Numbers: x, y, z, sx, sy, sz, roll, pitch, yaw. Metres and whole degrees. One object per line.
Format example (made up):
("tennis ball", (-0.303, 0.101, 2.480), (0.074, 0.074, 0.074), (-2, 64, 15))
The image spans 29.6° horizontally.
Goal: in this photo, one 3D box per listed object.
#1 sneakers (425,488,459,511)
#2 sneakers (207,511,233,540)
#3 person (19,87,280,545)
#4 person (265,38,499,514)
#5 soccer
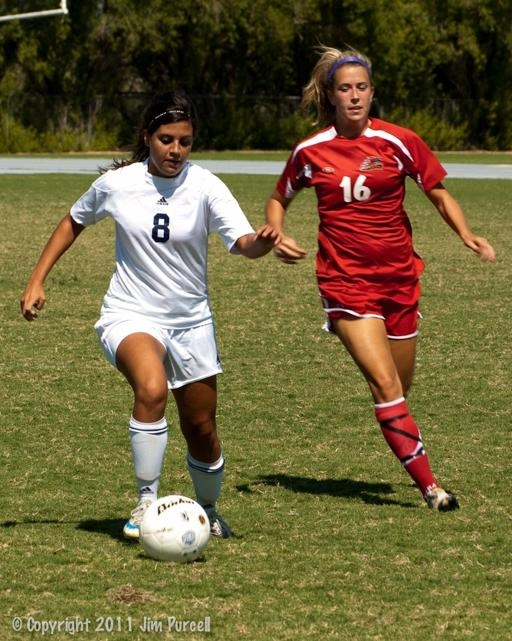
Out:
("sneakers", (0.836, 0.796, 4.317), (0.160, 0.117, 0.067), (0, 14, -5))
("sneakers", (-0.156, 0.855, 4.041), (0.059, 0.062, 0.167), (-6, 8, -33))
("person", (-0.426, -0.005, 3.954), (0.706, 1.803, 0.752), (-8, 17, -29))
("person", (0.536, -0.213, 4.455), (1.068, 2.024, 0.601), (10, 17, 32))
("soccer", (-0.301, 0.789, 3.654), (0.307, 0.241, 0.264), (-3, 46, -11))
